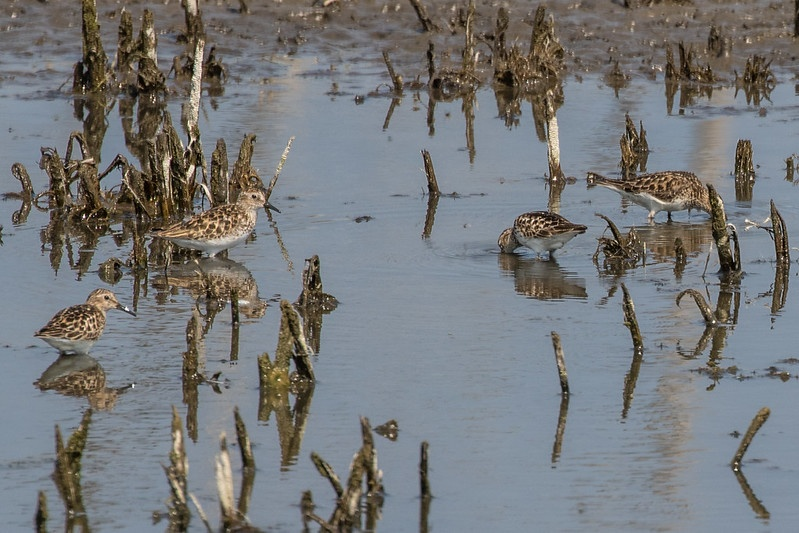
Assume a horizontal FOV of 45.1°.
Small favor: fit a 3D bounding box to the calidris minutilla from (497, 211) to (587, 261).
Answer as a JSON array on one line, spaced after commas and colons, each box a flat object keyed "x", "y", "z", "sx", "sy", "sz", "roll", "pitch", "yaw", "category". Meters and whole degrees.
[{"x": 2.344, "y": -0.510, "z": 15.798, "sx": 0.461, "sy": 0.779, "sz": 1.616, "roll": -11, "pitch": 14, "yaw": -34, "category": "calidris minutilla"}]

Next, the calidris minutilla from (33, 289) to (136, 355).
[{"x": -4.164, "y": 0.768, "z": 12.679, "sx": 0.561, "sy": 0.915, "sz": 1.449, "roll": 12, "pitch": 8, "yaw": 29, "category": "calidris minutilla"}]
